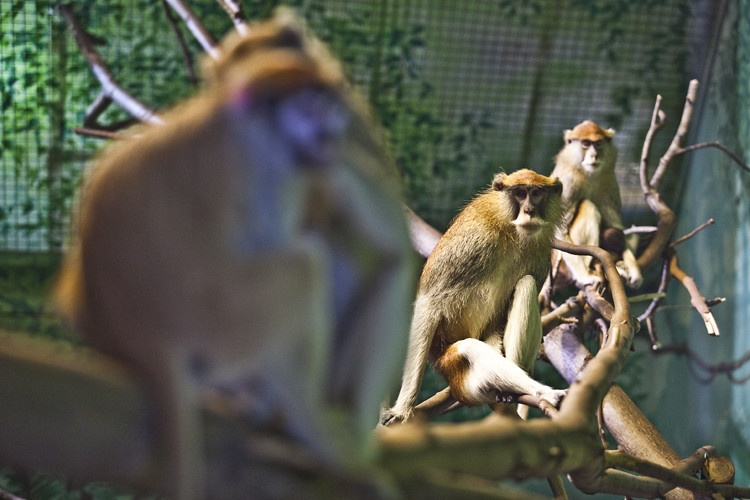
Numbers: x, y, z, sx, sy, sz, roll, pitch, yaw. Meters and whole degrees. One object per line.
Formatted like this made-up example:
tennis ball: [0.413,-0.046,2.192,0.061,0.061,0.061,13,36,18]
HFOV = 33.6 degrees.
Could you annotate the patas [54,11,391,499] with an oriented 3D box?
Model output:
patas: [-0.400,0.019,3.909,1.014,1.482,0.492,7,15,23]

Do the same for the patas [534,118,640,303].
patas: [1.004,-0.207,5.899,0.409,0.921,1.082,-7,1,3]

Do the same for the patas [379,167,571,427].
patas: [0.378,0.066,5.176,0.441,1.065,0.968,-7,15,-20]
